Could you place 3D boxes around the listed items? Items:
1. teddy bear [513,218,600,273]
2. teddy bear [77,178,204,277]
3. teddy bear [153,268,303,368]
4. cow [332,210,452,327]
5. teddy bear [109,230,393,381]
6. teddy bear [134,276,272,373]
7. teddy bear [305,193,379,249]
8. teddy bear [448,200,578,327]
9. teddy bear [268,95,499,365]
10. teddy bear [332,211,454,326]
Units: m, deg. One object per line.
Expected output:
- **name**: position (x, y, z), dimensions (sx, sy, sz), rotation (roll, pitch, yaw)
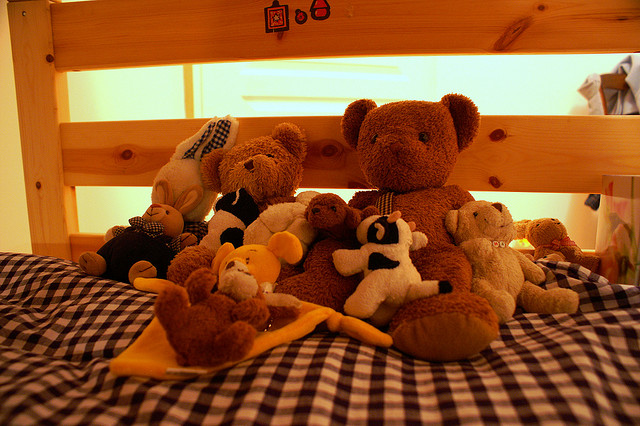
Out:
- **teddy bear**: position (0.853, 0.090, 1.821), dimensions (0.236, 0.147, 0.369), rotation (-3, 15, -6)
- **teddy bear**: position (-0.630, 0.062, 1.778), dimensions (0.423, 0.407, 0.314), rotation (8, -8, 25)
- **teddy bear**: position (-0.280, 0.281, 1.262), dimensions (0.291, 0.254, 0.124), rotation (-2, 7, -18)
- **cow**: position (0.207, 0.171, 1.507), dimensions (0.355, 0.328, 0.366), rotation (12, 3, 3)
- **teddy bear**: position (-0.272, 0.116, 1.317), dimensions (0.714, 0.221, 0.430), rotation (2, 9, 27)
- **teddy bear**: position (-0.286, 0.297, 1.293), dimensions (0.299, 0.247, 0.182), rotation (-2, 7, -18)
- **teddy bear**: position (0.059, 0.013, 1.565), dimensions (0.262, 0.097, 0.254), rotation (4, -12, 20)
- **teddy bear**: position (0.595, 0.135, 1.552), dimensions (0.347, 0.377, 0.376), rotation (0, -1, -37)
- **teddy bear**: position (0.167, 0.005, 1.543), dimensions (0.806, 0.804, 0.811), rotation (-1, 6, -4)
- **teddy bear**: position (0.248, 0.184, 1.490), dimensions (0.398, 0.344, 0.289), rotation (12, 4, 41)
